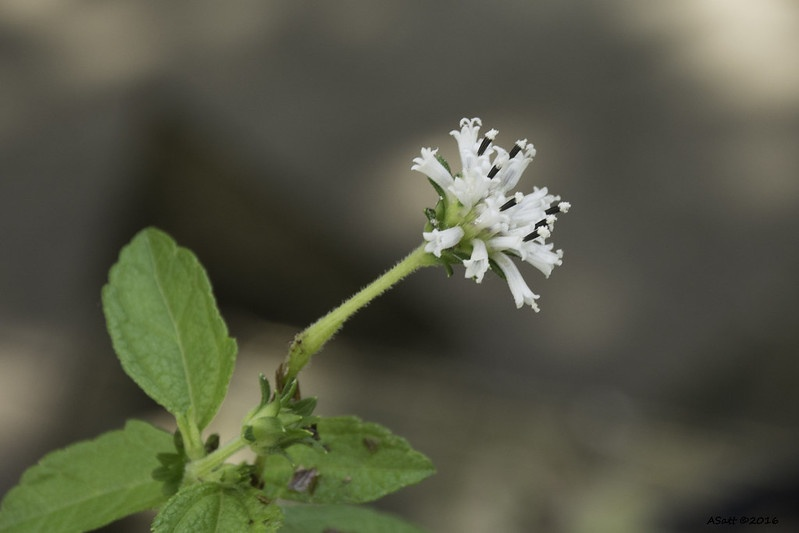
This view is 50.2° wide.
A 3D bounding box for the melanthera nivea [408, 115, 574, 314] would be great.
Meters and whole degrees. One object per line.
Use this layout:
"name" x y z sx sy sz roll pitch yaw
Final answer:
"melanthera nivea" 0.345 -0.266 3.087 0.738 0.471 0.689 1 -18 20
